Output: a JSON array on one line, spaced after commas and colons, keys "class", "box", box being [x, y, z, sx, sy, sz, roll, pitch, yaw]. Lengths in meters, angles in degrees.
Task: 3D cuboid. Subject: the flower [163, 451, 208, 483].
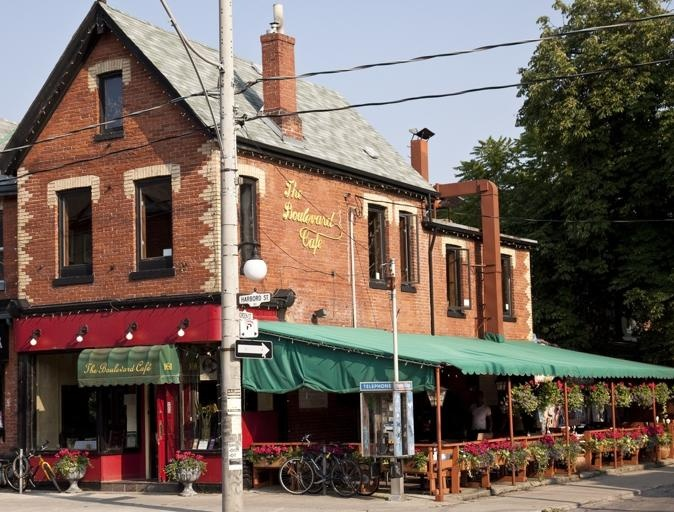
[{"class": "flower", "box": [-4.326, 6.097, 40.526, 0.917, 0.671, 0.930, 1, -8, 3]}]

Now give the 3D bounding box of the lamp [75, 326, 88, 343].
[{"class": "lamp", "box": [-7.585, 2.373, 42.090, 0.282, 0.508, 0.118, 16, 5, -11]}]

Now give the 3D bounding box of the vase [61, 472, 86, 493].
[{"class": "vase", "box": [-7.733, 6.736, 41.838, 0.582, 0.664, 0.592, 0, -10, 3]}]

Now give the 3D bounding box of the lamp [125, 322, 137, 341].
[{"class": "lamp", "box": [-6.017, 2.241, 41.593, 0.329, 0.513, 0.183, 6, 7, 9]}]

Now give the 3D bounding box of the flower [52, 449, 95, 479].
[{"class": "flower", "box": [-7.795, 6.189, 42.061, 0.873, 0.946, 0.944, 4, -13, 3]}]

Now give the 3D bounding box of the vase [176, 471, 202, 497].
[{"class": "vase", "box": [-4.213, 6.572, 40.651, 0.672, 0.684, 0.684, 0, -13, 2]}]

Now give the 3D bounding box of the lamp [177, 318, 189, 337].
[{"class": "lamp", "box": [-4.431, 2.092, 40.884, 0.289, 0.515, 0.124, 21, -1, 19]}]

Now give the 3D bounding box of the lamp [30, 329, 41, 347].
[{"class": "lamp", "box": [-9.122, 2.504, 42.825, 0.419, 0.476, 0.183, -20, -22, 41]}]
